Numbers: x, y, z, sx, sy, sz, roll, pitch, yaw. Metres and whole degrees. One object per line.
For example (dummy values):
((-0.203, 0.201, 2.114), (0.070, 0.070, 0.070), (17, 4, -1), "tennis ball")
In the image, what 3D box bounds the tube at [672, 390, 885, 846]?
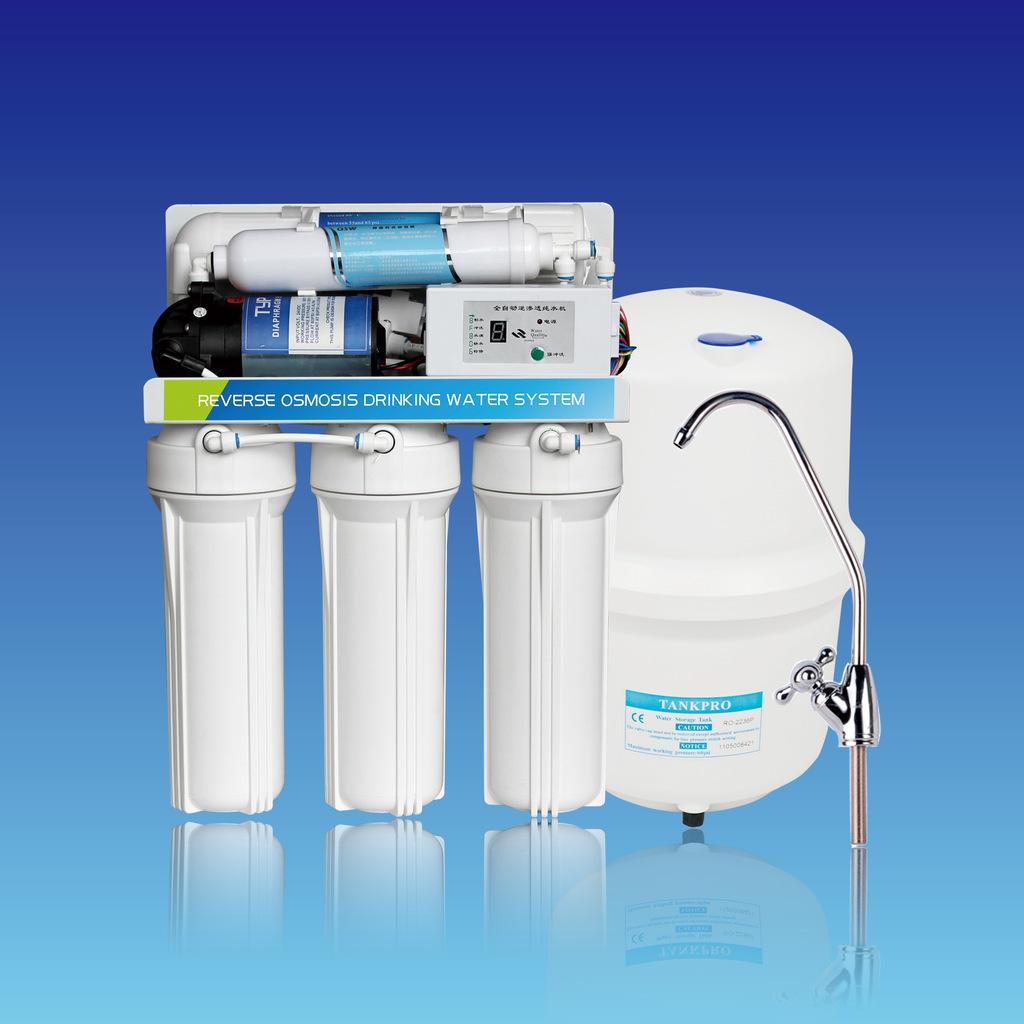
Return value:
((0.466, 0.205, 2.691), (0.343, 0.852, 0.521), (-1, -3, 6), "tube")

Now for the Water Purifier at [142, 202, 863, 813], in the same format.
((-0.063, -0.017, 2.898), (1.689, 1.056, 0.471), (0, 7, -5), "Water Purifier")

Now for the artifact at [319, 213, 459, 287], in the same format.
((-0.240, -0.512, 2.922), (0.256, 0.176, 0.211), (0, -2, -7), "artifact")

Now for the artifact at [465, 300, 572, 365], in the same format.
((0.016, -0.331, 2.812), (0.258, 0.111, 0.117), (0, 6, 1), "artifact")
